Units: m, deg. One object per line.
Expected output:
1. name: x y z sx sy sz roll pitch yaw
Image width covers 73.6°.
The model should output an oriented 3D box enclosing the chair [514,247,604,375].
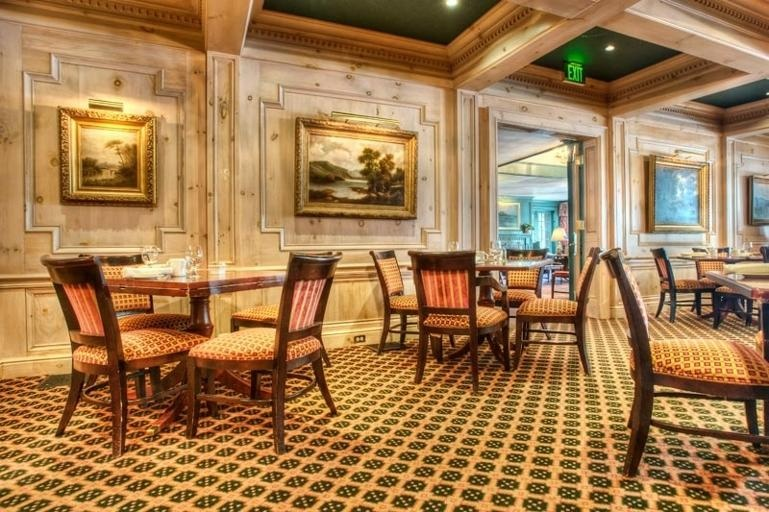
1. chair: 1.841 0.534 5.640 0.846 1.266 1.084 -1 4 13

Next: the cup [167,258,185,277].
1. cup: -1.852 0.104 4.547 0.165 0.133 0.154 1 6 0

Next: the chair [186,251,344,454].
1. chair: -1.053 0.750 4.998 1.647 1.861 1.473 1 -2 14

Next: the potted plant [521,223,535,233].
1. potted plant: 5.058 -0.972 18.220 0.427 0.173 0.407 -1 1 21

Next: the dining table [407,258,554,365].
1. dining table: 1.319 0.515 5.679 1.419 0.730 1.325 0 4 12

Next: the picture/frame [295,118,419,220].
1. picture/frame: -0.353 -1.064 6.330 1.579 1.193 0.139 -3 5 -19

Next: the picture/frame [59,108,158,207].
1. picture/frame: -2.943 -1.055 5.481 0.939 1.015 0.074 -3 5 -15

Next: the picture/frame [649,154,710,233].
1. picture/frame: 4.795 -1.033 8.451 1.627 1.148 0.125 0 0 -27

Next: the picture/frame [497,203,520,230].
1. picture/frame: 4.402 -1.422 18.105 1.128 0.962 0.320 -5 5 -38
